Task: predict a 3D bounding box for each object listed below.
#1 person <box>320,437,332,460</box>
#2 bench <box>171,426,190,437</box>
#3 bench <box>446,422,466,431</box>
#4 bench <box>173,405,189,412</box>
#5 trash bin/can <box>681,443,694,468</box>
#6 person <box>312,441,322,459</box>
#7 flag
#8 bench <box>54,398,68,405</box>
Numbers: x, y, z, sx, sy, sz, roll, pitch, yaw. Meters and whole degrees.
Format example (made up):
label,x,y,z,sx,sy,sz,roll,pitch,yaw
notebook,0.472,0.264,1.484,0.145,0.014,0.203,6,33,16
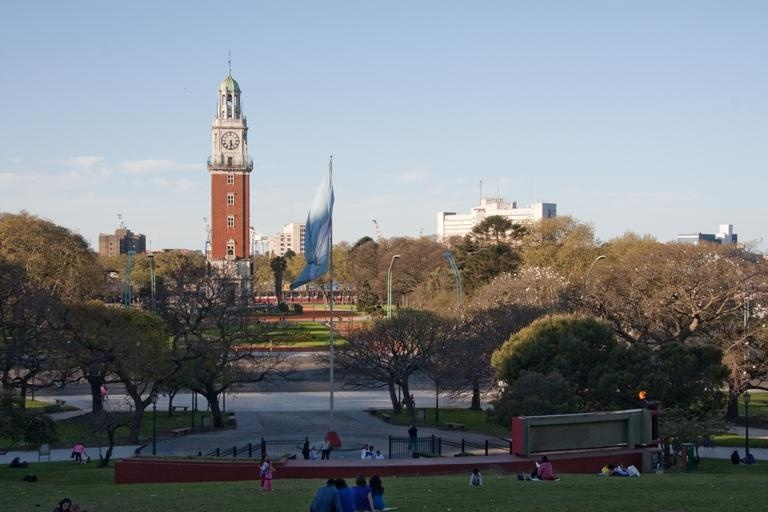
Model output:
label,x,y,z,sx,sy,sz,roll,pitch,yaw
person,-4.219,13.407,119.870,0.772,1.380,2.198,-1,-5,-2
bench,-15.775,13.191,128.539,0.957,0.587,1.934,-2,-5,20
bench,5.668,12.845,129.409,1.078,0.556,1.812,2,-5,-31
bench,-17.143,12.324,139.324,1.310,0.416,2.697,0,-4,-8
trash bin/can,22.108,14.102,120.717,0.725,1.831,0.853,-3,-6,25
person,-4.947,13.765,121.209,0.268,0.834,0.924,-3,-1,20
flag,-5.213,-2.314,122.189,3.114,10.045,1.001,-1,18,-22
bench,-27.219,11.774,138.794,0.743,0.389,0.690,1,-5,13
